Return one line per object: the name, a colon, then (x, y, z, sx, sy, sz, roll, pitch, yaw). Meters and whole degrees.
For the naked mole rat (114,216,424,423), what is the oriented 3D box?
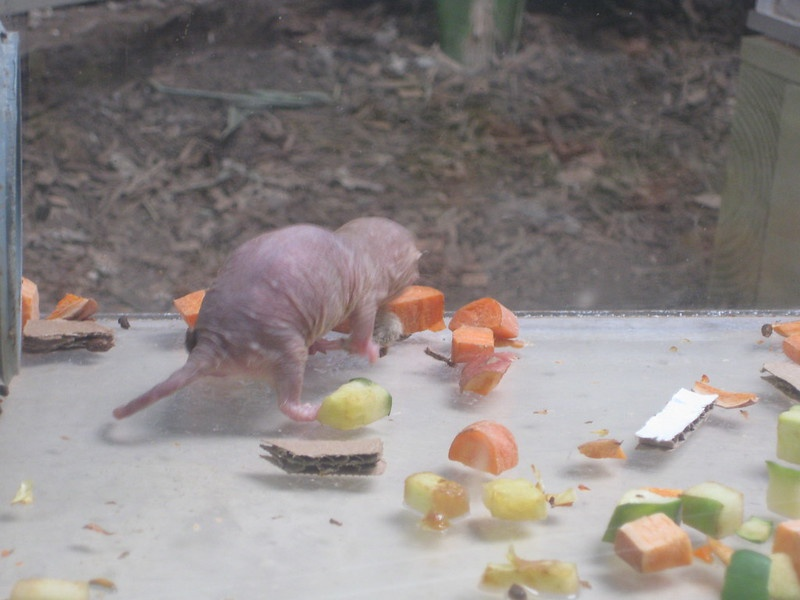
naked mole rat: (-0.176, -0.031, 2.333, 0.734, 0.312, 0.286, -24, 47, -36)
